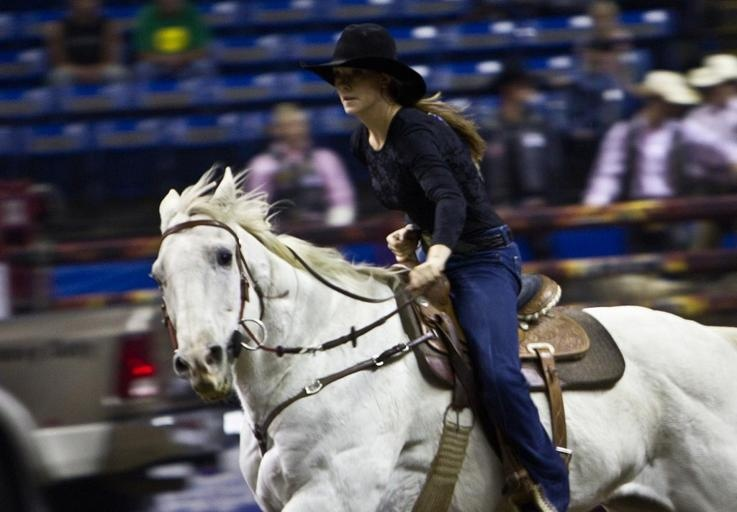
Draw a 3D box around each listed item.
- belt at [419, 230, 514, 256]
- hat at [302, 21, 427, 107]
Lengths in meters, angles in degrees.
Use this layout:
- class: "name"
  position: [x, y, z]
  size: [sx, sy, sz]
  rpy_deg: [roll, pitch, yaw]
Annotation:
- class: "belt"
  position: [0.675, -0.077, 12.322]
  size: [0.397, 0.080, 0.248]
  rpy_deg: [-8, 1, -7]
- class: "hat"
  position: [-0.034, -1.334, 12.217]
  size: [0.787, 0.270, 0.492]
  rpy_deg: [9, 2, 2]
